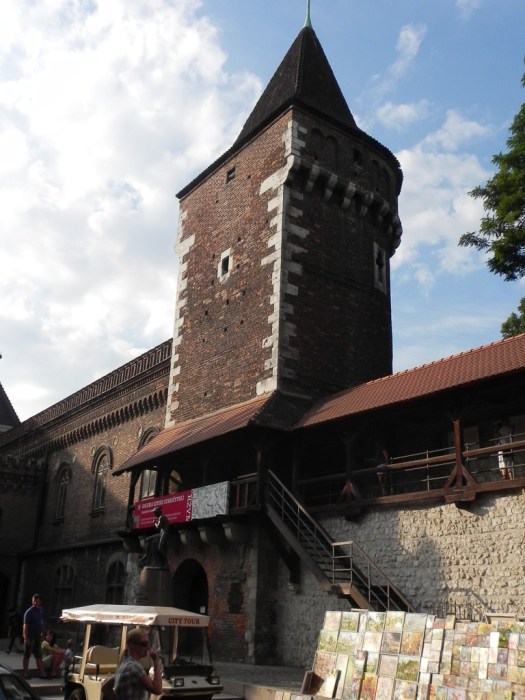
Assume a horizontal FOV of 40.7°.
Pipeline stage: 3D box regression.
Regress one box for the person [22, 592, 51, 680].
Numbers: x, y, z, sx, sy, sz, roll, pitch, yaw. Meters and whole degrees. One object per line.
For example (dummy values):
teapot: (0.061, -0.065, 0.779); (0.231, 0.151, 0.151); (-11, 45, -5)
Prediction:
person: (-4.169, 5.254, 13.125); (0.487, 1.427, 0.465); (-23, -32, 33)
